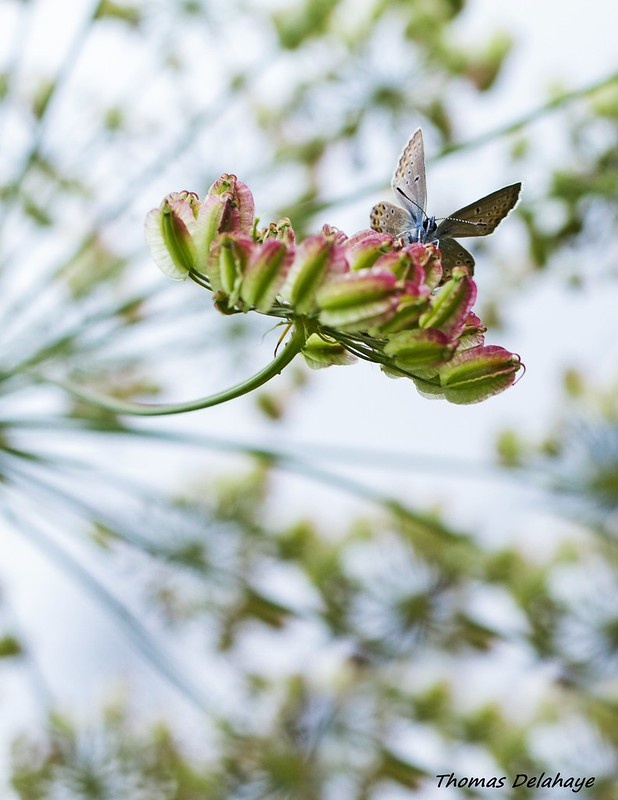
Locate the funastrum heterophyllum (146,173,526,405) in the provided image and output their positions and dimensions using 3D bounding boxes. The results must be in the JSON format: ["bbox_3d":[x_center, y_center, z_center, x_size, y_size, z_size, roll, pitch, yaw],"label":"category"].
[{"bbox_3d":[0.028,-0.104,1.287,0.372,0.236,0.240,-2,-43,14],"label":"funastrum heterophyllum"}]

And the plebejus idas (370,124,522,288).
[{"bbox_3d":[0.146,-0.199,1.465,0.209,0.108,0.184,23,-3,7],"label":"plebejus idas"}]
